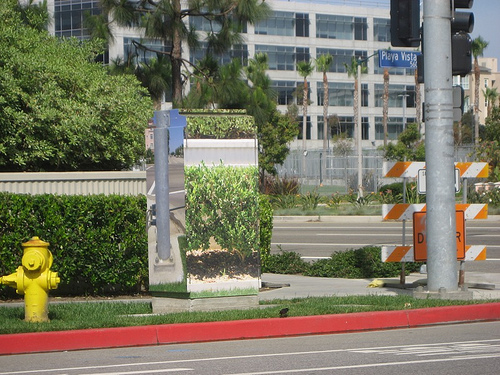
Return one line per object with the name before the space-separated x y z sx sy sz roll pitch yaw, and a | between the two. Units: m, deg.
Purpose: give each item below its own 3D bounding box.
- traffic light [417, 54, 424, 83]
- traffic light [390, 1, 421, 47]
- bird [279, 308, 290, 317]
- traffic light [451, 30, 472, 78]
traffic light | 3.952 -2.790 29.507 0.156 0.653 0.262 -1 3 8
traffic light | 3.616 -3.847 29.658 0.709 1.046 0.600 -1 3 7
bird | 0.699 2.684 27.555 0.184 0.196 0.270 -1 3 1
traffic light | 4.883 -3.139 29.375 0.467 1.047 0.466 -1 3 9
